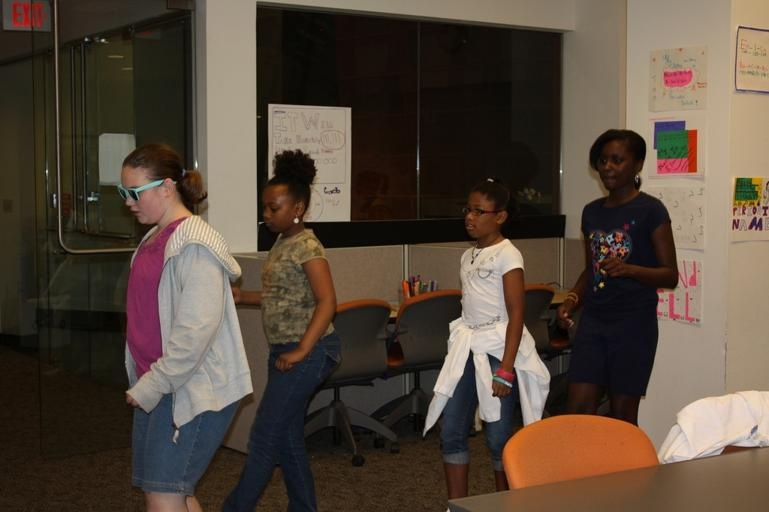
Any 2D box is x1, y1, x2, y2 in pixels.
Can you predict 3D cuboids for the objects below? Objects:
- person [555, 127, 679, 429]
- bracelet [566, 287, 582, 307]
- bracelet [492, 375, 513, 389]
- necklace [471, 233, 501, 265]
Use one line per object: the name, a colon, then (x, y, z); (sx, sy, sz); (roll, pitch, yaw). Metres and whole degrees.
person: (1.263, 0.100, 3.550); (0.603, 1.562, 0.449); (2, 8, 21)
bracelet: (1.079, 0.247, 3.733); (0.044, 0.126, 0.089); (12, -1, -16)
bracelet: (0.588, 0.630, 3.230); (0.071, 0.022, 0.068); (22, -3, 24)
necklace: (0.527, -0.038, 3.407); (0.113, 0.125, 0.183); (-3, 18, 30)
